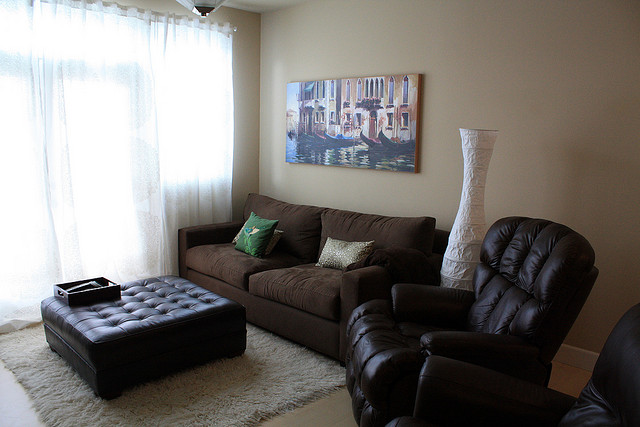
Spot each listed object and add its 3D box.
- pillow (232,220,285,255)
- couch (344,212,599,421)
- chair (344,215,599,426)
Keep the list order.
[{"bbox_3d":[-0.681,0.276,5.178,0.319,0.387,0.541,-5,9,-40],"label":"pillow"},{"bbox_3d":[1.070,0.699,3.893,1.772,1.805,1.353,0,8,-4],"label":"couch"},{"bbox_3d":[1.011,0.699,3.845,1.763,1.722,1.374,0,8,-4],"label":"chair"}]
